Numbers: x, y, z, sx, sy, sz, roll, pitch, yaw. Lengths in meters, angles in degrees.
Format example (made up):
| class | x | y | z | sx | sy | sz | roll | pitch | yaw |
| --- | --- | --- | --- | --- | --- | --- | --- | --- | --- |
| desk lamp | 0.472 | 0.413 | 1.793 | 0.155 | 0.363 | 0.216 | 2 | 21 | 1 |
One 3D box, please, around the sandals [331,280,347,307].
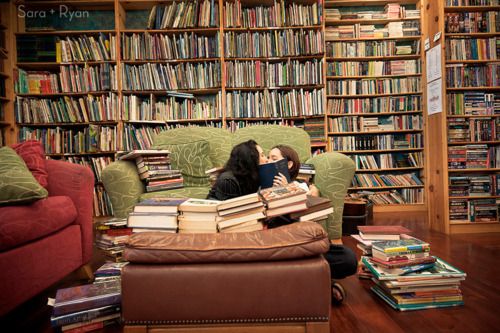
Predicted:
| class | x | y | z | sx | sy | sz | roll | pitch | yaw |
| --- | --- | --- | --- | --- | --- | --- | --- | --- | --- |
| sandals | 0.736 | 1.065 | 3.334 | 0.138 | 0.183 | 0.068 | 0 | 10 | 23 |
